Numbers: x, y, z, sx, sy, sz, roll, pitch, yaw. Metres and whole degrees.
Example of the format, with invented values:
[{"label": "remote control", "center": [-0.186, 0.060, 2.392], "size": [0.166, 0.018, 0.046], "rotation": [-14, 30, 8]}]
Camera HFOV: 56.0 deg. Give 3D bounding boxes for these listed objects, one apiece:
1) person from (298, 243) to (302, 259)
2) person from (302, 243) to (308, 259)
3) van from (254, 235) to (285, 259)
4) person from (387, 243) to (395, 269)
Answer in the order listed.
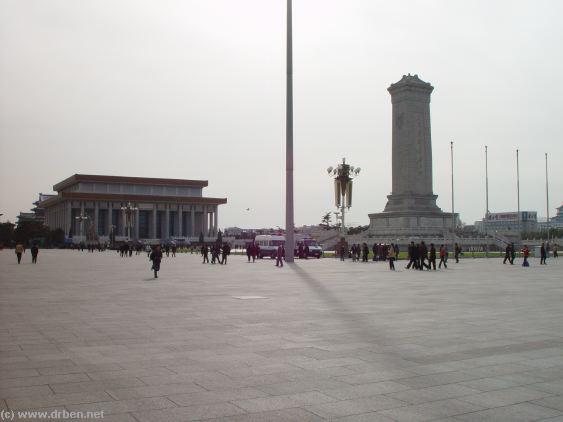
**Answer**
[{"label": "person", "center": [1.916, 3.801, 50.739], "size": [0.515, 1.493, 1.532], "rotation": [0, -5, 0]}, {"label": "person", "center": [2.319, 3.806, 50.390], "size": [0.447, 1.322, 1.203], "rotation": [-1, -5, 1]}, {"label": "van", "center": [-1.350, 3.588, 53.927], "size": [1.907, 1.955, 3.125], "rotation": [2, -5, -33]}, {"label": "person", "center": [6.785, 2.772, 32.424], "size": [0.395, 1.627, 2.442], "rotation": [-1, -5, 11]}]
